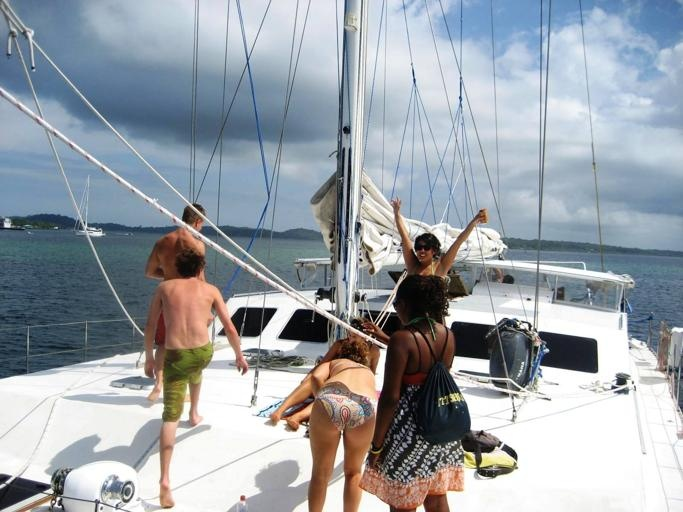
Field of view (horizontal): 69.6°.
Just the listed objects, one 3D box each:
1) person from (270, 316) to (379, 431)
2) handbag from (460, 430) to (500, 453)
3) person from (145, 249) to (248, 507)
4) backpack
[{"bbox_3d":[-0.165,1.152,4.691,0.440,0.517,1.389,21,22,16],"label":"person"},{"bbox_3d":[1.208,1.620,4.249,0.280,0.124,0.299,-1,-2,38],"label":"handbag"},{"bbox_3d":[-1.421,1.077,4.619,0.784,2.267,0.683,2,-3,-26],"label":"person"},{"bbox_3d":[0.711,0.924,3.409,0.352,0.743,0.127,2,-2,-19],"label":"backpack"}]
